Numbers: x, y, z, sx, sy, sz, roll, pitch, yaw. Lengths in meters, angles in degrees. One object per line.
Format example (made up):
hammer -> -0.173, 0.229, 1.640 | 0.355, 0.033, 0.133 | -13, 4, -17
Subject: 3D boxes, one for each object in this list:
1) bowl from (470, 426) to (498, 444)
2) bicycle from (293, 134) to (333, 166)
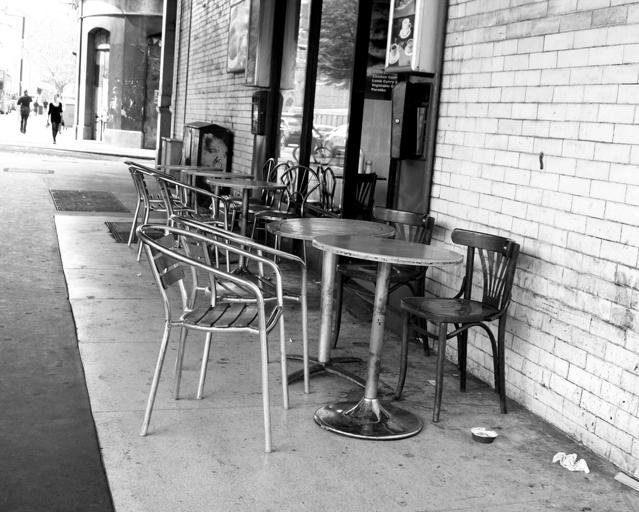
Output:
bowl -> 0.822, 0.875, 2.830 | 0.131, 0.036, 0.176 | 9, 12, 17
bicycle -> -0.125, -1.194, 6.435 | 0.259, 0.311, 0.520 | 1, 14, -37
